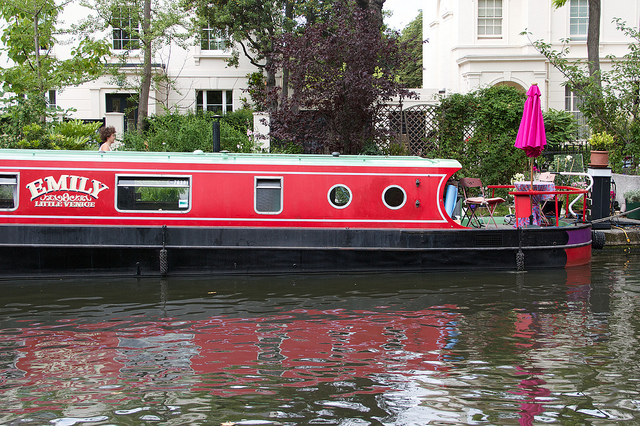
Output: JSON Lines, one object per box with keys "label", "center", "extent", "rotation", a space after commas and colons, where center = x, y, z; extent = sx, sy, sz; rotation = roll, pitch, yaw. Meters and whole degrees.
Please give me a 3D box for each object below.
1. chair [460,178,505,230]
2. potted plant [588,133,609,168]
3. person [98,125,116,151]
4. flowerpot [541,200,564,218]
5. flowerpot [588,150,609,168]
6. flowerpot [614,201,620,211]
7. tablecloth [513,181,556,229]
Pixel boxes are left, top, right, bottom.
{"label": "chair", "center": [3.890, -0.213, 24.407], "extent": [1.223, 1.084, 1.060], "rotation": [3, 13, -17]}
{"label": "potted plant", "center": [7.656, -1.760, 27.617], "extent": [0.868, 0.853, 0.772], "rotation": [-6, 11, 15]}
{"label": "person", "center": [-5.091, -1.768, 24.199], "extent": [0.339, 0.606, 0.969], "rotation": [-2, 2, -12]}
{"label": "flowerpot", "center": [5.907, -0.137, 25.785], "extent": [0.685, 0.392, 0.524], "rotation": [1, 3, 16]}
{"label": "flowerpot", "center": [7.505, -1.448, 27.337], "extent": [0.546, 0.328, 0.477], "rotation": [0, -1, -3]}
{"label": "flowerpot", "center": [8.325, -0.185, 28.457], "extent": [0.249, 0.253, 0.287], "rotation": [3, 5, 1]}
{"label": "tablecloth", "center": [5.236, -0.191, 24.572], "extent": [1.311, 1.081, 1.287], "rotation": [1, 3, 26]}
